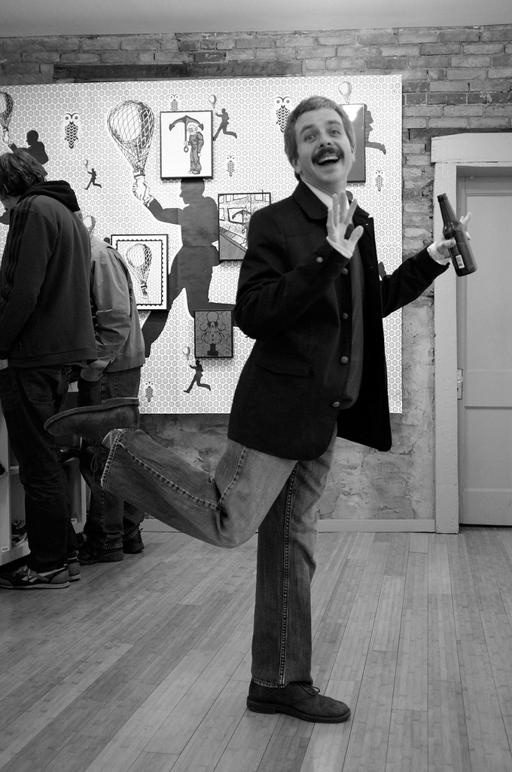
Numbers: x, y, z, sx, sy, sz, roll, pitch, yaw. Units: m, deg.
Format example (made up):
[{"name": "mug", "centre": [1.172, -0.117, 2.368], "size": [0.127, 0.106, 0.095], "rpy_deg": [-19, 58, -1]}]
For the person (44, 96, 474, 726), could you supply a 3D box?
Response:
[{"name": "person", "centre": [0.078, 0.061, 1.406], "size": [0.929, 1.398, 0.534], "rpy_deg": [1, -5, -20]}]

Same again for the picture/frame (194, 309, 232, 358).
[{"name": "picture/frame", "centre": [-0.252, -0.324, 3.975], "size": [0.282, 0.368, 0.039], "rpy_deg": [-1, -4, 0]}]

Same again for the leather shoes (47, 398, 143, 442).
[{"name": "leather shoes", "centre": [-0.354, 0.074, 1.446], "size": [0.196, 0.091, 0.103], "rpy_deg": [0, -4, -1]}]

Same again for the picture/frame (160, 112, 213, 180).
[{"name": "picture/frame", "centre": [-0.408, -1.458, 3.958], "size": [0.377, 0.467, 0.035], "rpy_deg": [0, 3, 4]}]

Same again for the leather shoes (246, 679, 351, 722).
[{"name": "leather shoes", "centre": [0.100, 0.726, 1.587], "size": [0.252, 0.117, 0.087], "rpy_deg": [1, -1, 8]}]
